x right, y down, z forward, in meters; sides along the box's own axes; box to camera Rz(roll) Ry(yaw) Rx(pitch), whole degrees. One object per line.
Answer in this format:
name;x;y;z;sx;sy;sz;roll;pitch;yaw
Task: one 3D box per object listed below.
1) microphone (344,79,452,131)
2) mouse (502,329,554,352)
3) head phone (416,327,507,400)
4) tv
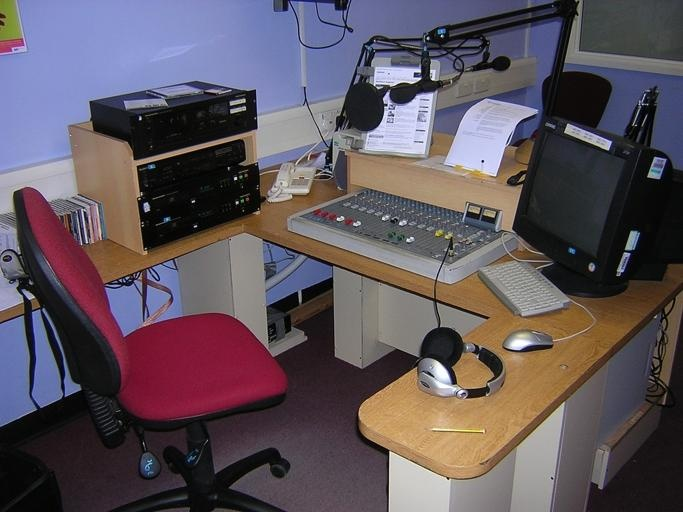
microphone;0.210;-0.689;2.381;0.363;0.176;0.213;-26;32;-34
mouse;0.587;0.259;1.689;0.123;0.047;0.072;-8;22;-15
head phone;0.354;0.307;1.605;0.253;0.104;0.248;9;33;19
tv;0.968;-0.179;2.004;0.409;0.577;0.508;-5;24;-13
